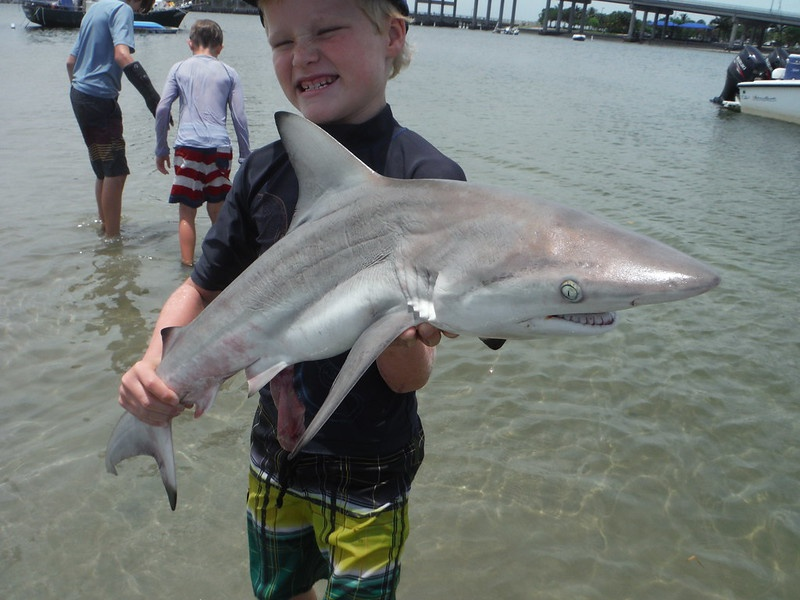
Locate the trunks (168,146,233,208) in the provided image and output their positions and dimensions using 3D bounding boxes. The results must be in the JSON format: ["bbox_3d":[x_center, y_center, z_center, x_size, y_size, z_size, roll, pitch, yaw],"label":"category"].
[{"bbox_3d":[-2.157,-1.344,7.719,0.500,0.633,0.791,12,19,32],"label":"trunks"}]
